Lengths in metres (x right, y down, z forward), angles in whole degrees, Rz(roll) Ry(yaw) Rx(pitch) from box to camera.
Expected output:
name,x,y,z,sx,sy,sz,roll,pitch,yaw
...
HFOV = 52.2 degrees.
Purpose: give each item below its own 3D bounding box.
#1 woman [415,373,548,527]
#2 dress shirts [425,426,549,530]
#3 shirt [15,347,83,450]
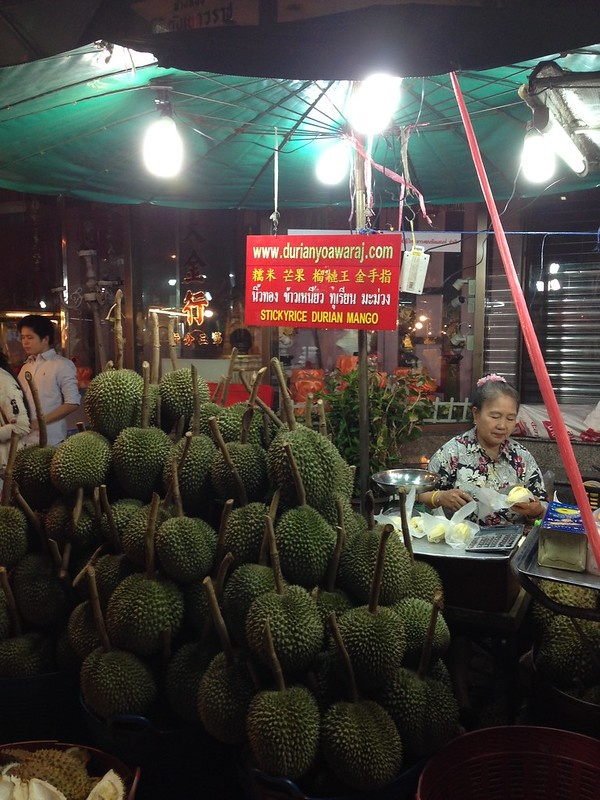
name,x,y,z,sx,sy,sz,roll,pitch,yaw
woman,0.761,0.344,2.588,0.554,0.855,0.501,5,5,13
dress shirts,0.773,0.255,2.557,0.610,0.504,0.326,2,-9,1
shirt,-1.682,-0.037,4.110,0.509,0.630,0.247,10,20,27
